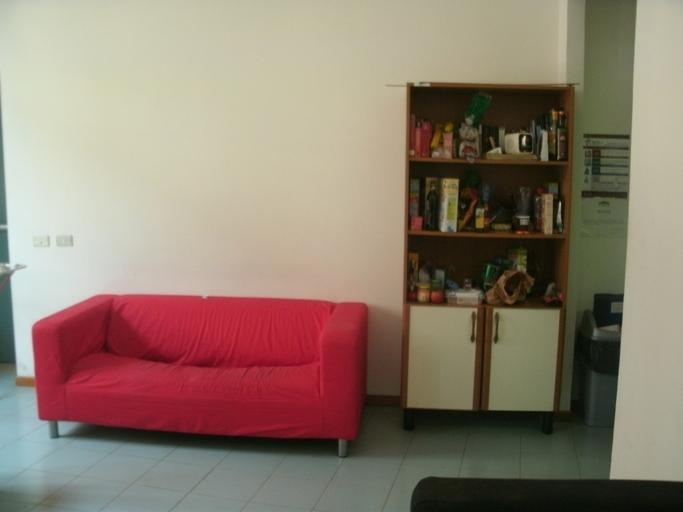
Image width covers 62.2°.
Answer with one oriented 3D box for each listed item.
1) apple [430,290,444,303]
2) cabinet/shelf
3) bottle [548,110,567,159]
[{"bbox_3d":[0.698,0.298,4.176,0.083,0.078,0.086,0,-1,8],"label":"apple"},{"bbox_3d":[1.063,0.006,4.157,1.205,2.451,0.752,1,14,5],"label":"cabinet/shelf"},{"bbox_3d":[1.537,-0.857,4.023,0.143,0.344,0.090,6,15,24],"label":"bottle"}]
